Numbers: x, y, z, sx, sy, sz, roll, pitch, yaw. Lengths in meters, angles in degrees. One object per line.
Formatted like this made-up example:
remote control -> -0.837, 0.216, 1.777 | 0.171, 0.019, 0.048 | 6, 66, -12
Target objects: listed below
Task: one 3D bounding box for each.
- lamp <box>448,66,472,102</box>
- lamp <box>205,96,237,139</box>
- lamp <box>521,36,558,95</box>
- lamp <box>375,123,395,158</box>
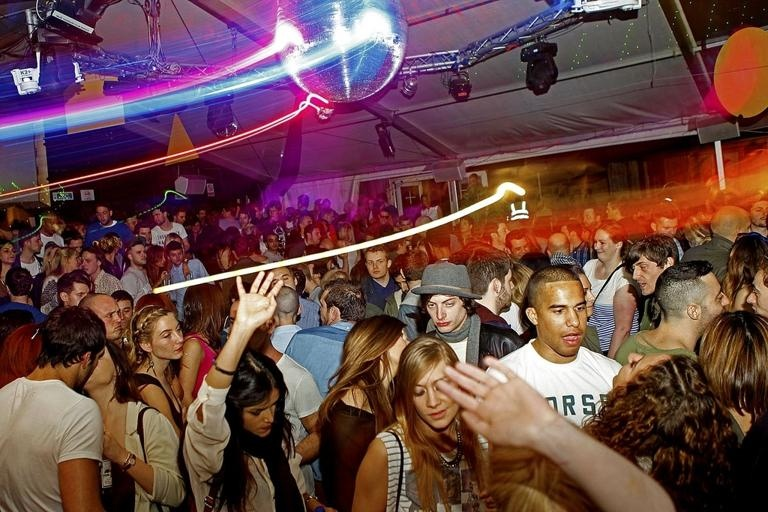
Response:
lamp -> 1.282, -2.903, 8.418 | 0.384, 0.512, 0.528 | -1, -35, 4
lamp -> -3.131, -2.723, 9.543 | 0.440, 0.411, 0.704 | 13, -33, 49
lamp -> 2.404, -2.941, 7.653 | 0.510, 0.675, 0.549 | -5, -8, 16
lamp -> 0.003, -2.497, 10.711 | 0.250, 0.369, 0.716 | -7, -46, 27
